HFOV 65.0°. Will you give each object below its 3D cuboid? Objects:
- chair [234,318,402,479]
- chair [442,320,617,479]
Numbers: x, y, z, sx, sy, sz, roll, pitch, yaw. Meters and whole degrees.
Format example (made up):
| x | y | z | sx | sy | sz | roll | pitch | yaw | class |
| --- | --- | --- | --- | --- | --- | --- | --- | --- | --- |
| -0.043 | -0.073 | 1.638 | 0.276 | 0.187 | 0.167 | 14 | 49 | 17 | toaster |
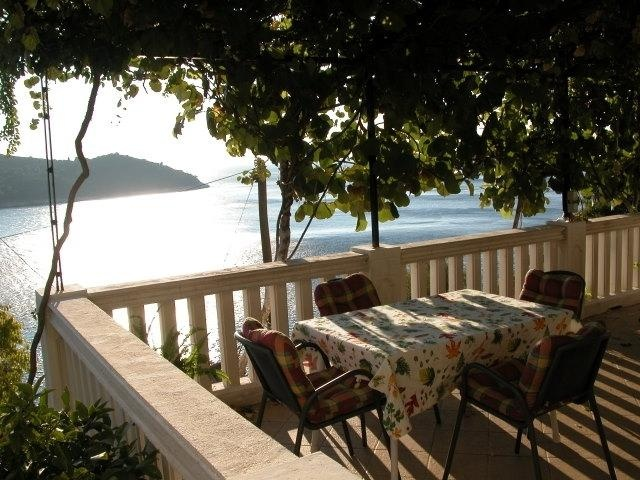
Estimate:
| x | y | z | sx | sy | sz | roll | pitch | yaw | class |
| --- | --- | --- | --- | --- | --- | --- | --- | --- | --- |
| -0.018 | 0.977 | 3.498 | 1.065 | 1.265 | 0.869 | -5 | 6 | -27 | chair |
| 1.328 | 1.051 | 3.245 | 0.763 | 1.233 | 0.871 | -6 | 10 | -32 | chair |
